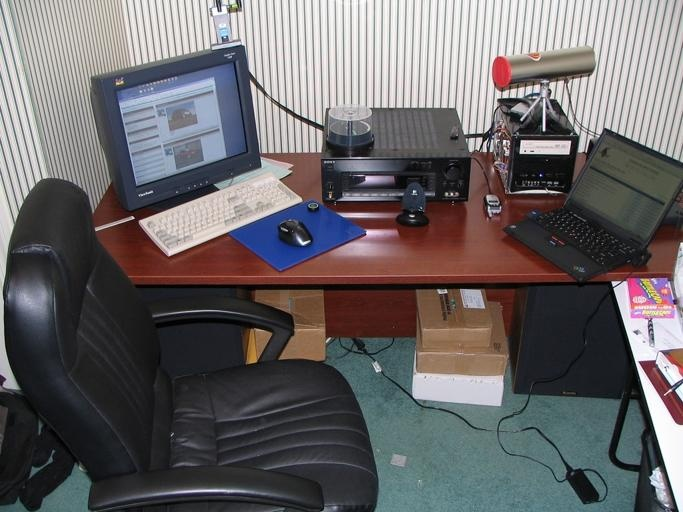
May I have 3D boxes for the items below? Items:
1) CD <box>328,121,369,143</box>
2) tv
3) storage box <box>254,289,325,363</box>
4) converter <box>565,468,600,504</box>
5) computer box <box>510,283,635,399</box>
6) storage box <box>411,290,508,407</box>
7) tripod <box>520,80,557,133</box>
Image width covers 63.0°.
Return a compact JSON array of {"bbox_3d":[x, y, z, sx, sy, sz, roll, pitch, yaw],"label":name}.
[{"bbox_3d":[0.029,-0.518,2.276,0.187,0.092,0.126,-2,33,-2],"label":"CD"},{"bbox_3d":[-0.611,-0.483,2.351,0.587,0.542,0.336,-13,-10,0],"label":"tv"},{"bbox_3d":[-0.242,0.307,2.646,0.320,0.089,0.375,0,50,1],"label":"storage box"},{"bbox_3d":[0.972,0.923,2.248,0.066,0.036,0.125,-16,42,-11],"label":"converter"},{"bbox_3d":[0.995,0.355,2.365,0.396,0.604,0.328,-3,41,11],"label":"computer box"},{"bbox_3d":[0.509,0.403,2.701,0.468,0.490,0.485,1,38,5],"label":"storage box"},{"bbox_3d":[0.834,-0.655,2.288,0.099,0.148,0.101,-1,24,0],"label":"tripod"}]
